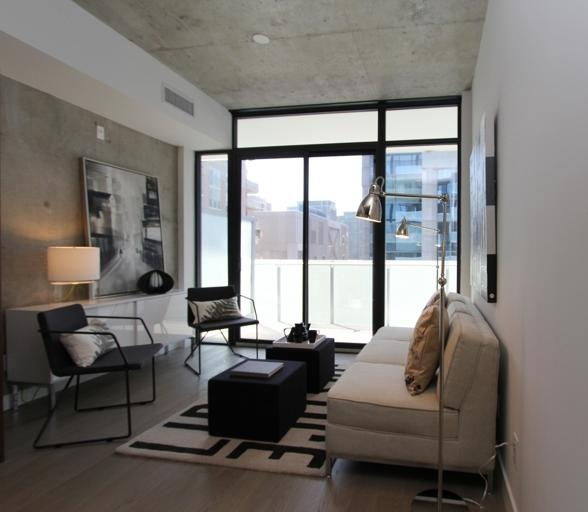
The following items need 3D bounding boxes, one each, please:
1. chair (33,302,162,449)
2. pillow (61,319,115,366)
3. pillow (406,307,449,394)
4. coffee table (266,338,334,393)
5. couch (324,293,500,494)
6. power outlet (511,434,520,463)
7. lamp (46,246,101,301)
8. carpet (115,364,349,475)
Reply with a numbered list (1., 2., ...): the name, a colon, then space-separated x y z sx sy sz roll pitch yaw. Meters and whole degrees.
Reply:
1. chair: -1.335 0.774 3.620 0.724 1.059 0.893 0 0 -2
2. pillow: -1.439 0.602 3.377 0.163 0.175 0.400 20 2 -5
3. pillow: 0.750 0.543 2.727 0.139 0.351 0.460 3 1 19
4. coffee table: 0.126 0.891 4.224 0.408 0.302 0.424 -1 -4 14
5. couch: 0.733 0.423 2.911 0.662 0.702 1.624 0 0 14
6. power outlet: 1.046 0.909 2.314 0.026 0.116 0.103 2 -10 18
7. lamp: -1.740 0.127 3.921 0.300 0.413 0.325 -2 -5 20
8. carpet: -0.359 1.068 3.310 1.282 0.255 0.989 0 3 12
